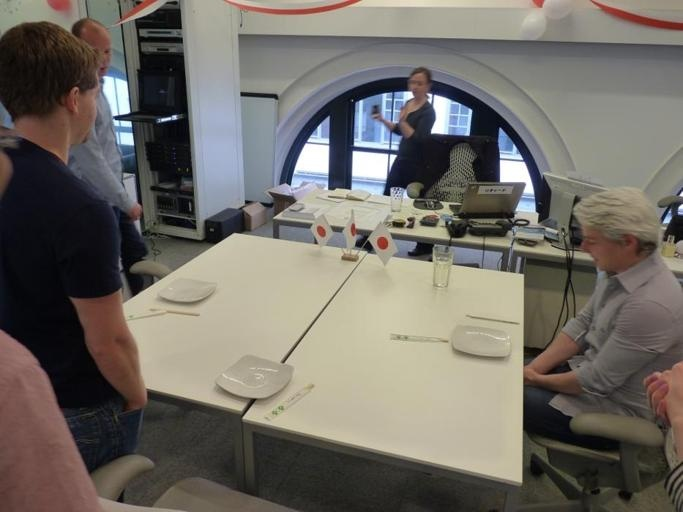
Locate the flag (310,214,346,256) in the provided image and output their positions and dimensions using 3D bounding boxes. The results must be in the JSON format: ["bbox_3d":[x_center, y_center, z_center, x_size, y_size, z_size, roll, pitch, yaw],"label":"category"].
[{"bbox_3d":[-0.088,-0.138,3.181,0.063,0.252,0.189,-17,35,-41],"label":"flag"}]

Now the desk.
[{"bbox_3d":[1.528,0.143,3.261,0.844,0.850,0.607,5,30,18],"label":"desk"}]

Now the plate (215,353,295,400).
[{"bbox_3d":[-0.301,0.414,1.770,0.221,0.058,0.184,8,16,22],"label":"plate"}]

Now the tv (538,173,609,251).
[{"bbox_3d":[1.210,-0.225,2.713,0.209,0.399,0.343,-29,33,-27],"label":"tv"}]

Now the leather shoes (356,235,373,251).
[{"bbox_3d":[0.174,-0.101,4.245,0.104,0.080,0.149,3,33,21],"label":"leather shoes"}]

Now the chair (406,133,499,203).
[{"bbox_3d":[0.914,-0.771,4.284,0.536,0.793,0.653,9,20,22],"label":"chair"}]

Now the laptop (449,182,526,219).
[{"bbox_3d":[0.938,-0.359,3.245,0.305,0.224,0.236,1,37,0],"label":"laptop"}]

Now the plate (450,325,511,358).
[{"bbox_3d":[0.543,0.332,2.025,0.151,0.028,0.131,8,33,14],"label":"plate"}]

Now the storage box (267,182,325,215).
[{"bbox_3d":[-0.501,-0.621,5.265,0.449,0.241,0.438,7,24,22],"label":"storage box"}]

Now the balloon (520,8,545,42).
[{"bbox_3d":[1.662,-1.981,4.521,0.189,0.260,0.197,26,-5,31],"label":"balloon"}]

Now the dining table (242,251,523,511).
[{"bbox_3d":[0.226,0.413,1.891,0.670,0.604,1.202,6,26,14],"label":"dining table"}]
